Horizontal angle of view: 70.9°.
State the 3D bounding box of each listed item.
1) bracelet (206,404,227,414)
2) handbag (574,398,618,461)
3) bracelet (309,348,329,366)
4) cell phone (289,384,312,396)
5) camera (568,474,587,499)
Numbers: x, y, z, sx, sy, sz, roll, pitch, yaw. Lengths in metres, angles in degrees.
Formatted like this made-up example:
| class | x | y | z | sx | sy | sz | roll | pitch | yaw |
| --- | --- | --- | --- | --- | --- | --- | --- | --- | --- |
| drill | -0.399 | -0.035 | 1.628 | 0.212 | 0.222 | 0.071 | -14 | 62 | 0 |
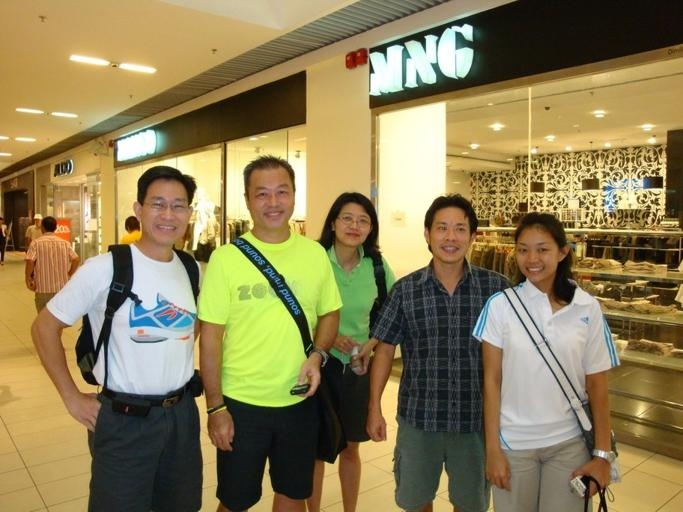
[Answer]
| class | x | y | z | sx | sy | sz | roll | pitch | yaw |
| --- | --- | --- | --- | --- | --- | --- | --- | --- | --- |
| bracelet | -0.576 | 0.712 | 2.234 | 0.090 | 0.057 | 0.050 | -4 | 7 | -18 |
| handbag | 1.109 | 0.742 | 2.132 | 0.200 | 0.279 | 0.088 | 2 | -4 | 10 |
| bracelet | -0.106 | 0.496 | 2.395 | 0.082 | 0.095 | 0.051 | 25 | 44 | 24 |
| cell phone | -0.192 | 0.628 | 2.250 | 0.082 | 0.048 | 0.027 | -7 | 10 | -20 |
| camera | 1.020 | 1.004 | 2.075 | 0.064 | 0.083 | 0.029 | -20 | 6 | -31 |
